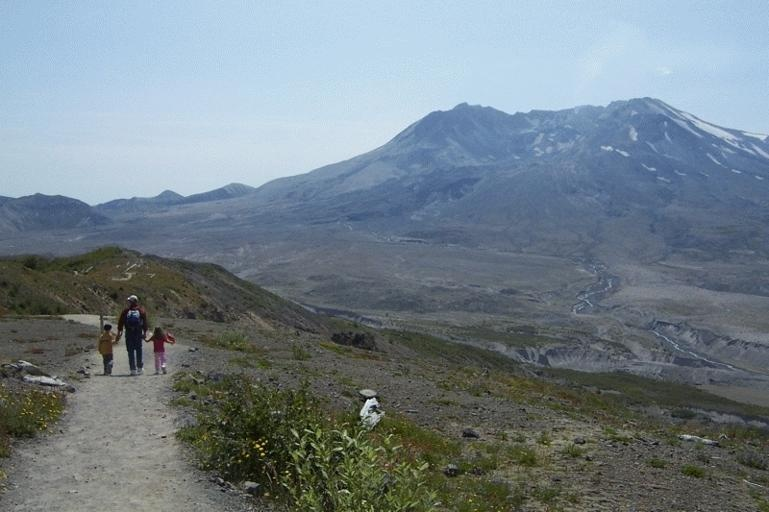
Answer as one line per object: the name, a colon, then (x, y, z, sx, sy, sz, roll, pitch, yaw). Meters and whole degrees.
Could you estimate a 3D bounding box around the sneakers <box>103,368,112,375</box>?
sneakers: (-11.815, 4.902, 24.135, 0.278, 0.312, 0.195, 2, 8, 36)
